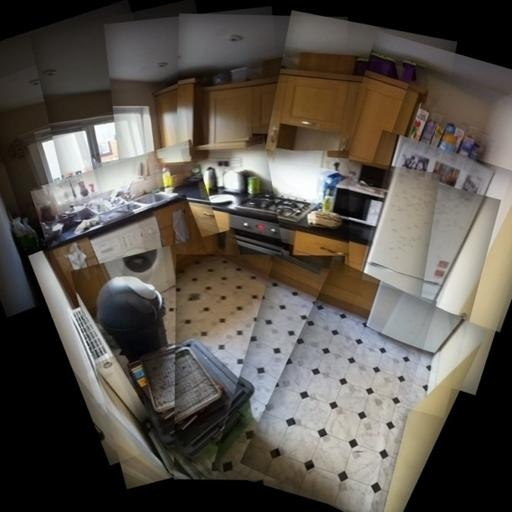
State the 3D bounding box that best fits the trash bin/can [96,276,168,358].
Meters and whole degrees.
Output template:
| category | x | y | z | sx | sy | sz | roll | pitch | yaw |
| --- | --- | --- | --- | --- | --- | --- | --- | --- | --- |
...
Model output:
| category | x | y | z | sx | sy | sz | roll | pitch | yaw |
| --- | --- | --- | --- | --- | --- | --- | --- | --- | --- |
| trash bin/can | -0.618 | 0.286 | 1.862 | 0.233 | 0.300 | 0.215 | 32 | 51 | 27 |
